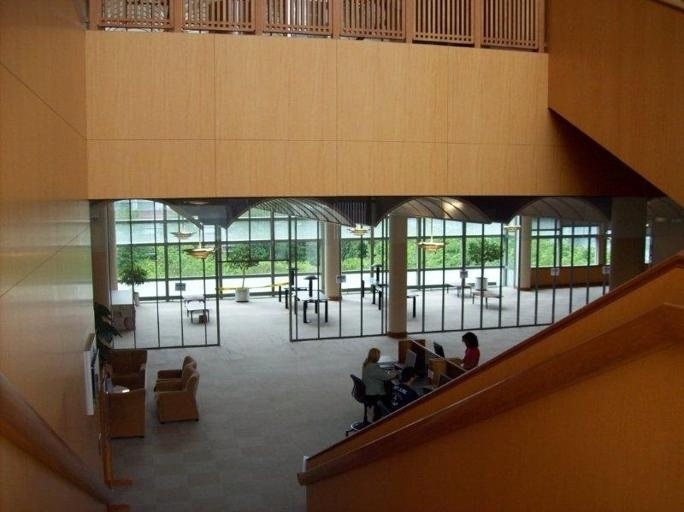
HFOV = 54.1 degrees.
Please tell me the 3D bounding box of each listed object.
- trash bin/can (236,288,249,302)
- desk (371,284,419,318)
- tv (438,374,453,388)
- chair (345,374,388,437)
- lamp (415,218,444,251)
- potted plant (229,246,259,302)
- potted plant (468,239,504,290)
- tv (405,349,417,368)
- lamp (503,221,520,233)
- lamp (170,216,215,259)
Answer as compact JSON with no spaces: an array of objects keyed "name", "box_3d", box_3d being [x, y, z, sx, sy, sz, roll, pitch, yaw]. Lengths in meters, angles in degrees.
[{"name":"trash bin/can","box_3d":[-3.874,1.480,25.993,0.477,0.569,0.480,-3,1,-14]},{"name":"desk","box_3d":[1.854,1.440,23.817,1.791,1.091,5.746,-3,2,6]},{"name":"tv","box_3d":[1.810,2.195,11.855,0.242,0.179,0.921,-2,2,8]},{"name":"chair","box_3d":[0.460,2.727,12.339,0.706,1.050,0.750,5,-5,3]},{"name":"lamp","box_3d":[3.351,-0.867,26.306,0.890,1.708,0.979,1,13,-2]},{"name":"potted plant","box_3d":[-3.905,0.686,26.427,1.160,2.556,1.404,-4,13,-15]},{"name":"potted plant","box_3d":[6.298,0.168,27.515,1.361,1.949,1.771,10,9,-11]},{"name":"tv","box_3d":[1.373,2.063,13.510,0.032,0.284,0.222,-1,7,-37]},{"name":"lamp","box_3d":[7.178,-1.156,28.320,0.652,0.368,1.813,-2,2,16]},{"name":"lamp","box_3d":[-5.069,-0.604,22.271,1.356,1.850,1.371,-3,7,-44]}]
